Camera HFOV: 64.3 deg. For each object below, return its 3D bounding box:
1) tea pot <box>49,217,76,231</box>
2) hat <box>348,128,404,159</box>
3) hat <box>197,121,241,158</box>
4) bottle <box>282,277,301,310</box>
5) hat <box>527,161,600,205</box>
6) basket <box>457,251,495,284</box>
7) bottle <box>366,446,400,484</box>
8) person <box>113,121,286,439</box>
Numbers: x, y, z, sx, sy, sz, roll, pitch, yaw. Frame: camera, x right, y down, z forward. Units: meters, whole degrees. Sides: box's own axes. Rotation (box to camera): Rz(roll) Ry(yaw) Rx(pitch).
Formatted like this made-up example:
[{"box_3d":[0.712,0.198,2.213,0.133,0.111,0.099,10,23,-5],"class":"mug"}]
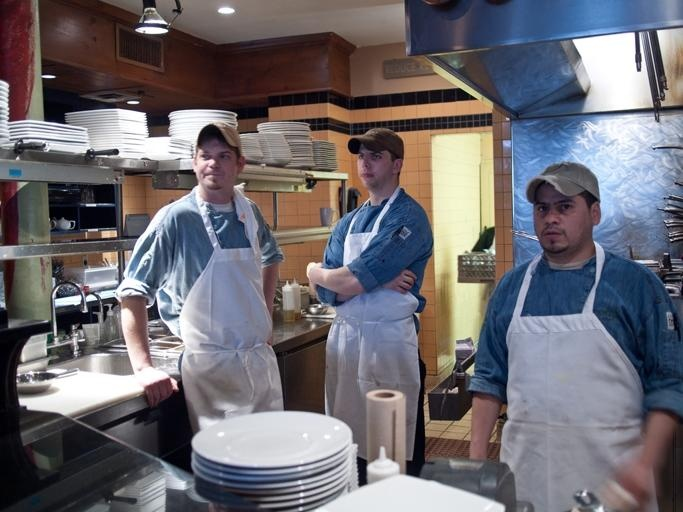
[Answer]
[{"box_3d":[-3.178,-0.366,6.186,0.142,0.120,0.243,-1,-4,37],"class":"tea pot"},{"box_3d":[0.200,-0.648,2.950,0.255,0.127,0.168,13,-4,-38],"class":"hat"},{"box_3d":[-0.590,-0.551,2.490,0.250,0.127,0.180,-4,11,-17],"class":"hat"},{"box_3d":[-0.367,0.281,3.886,0.167,0.293,0.165,1,-2,0],"class":"bottle"},{"box_3d":[0.771,-0.261,1.863,0.278,0.136,0.186,7,1,-32],"class":"hat"},{"box_3d":[1.119,0.084,4.507,0.262,0.166,0.269,0,4,14],"class":"basket"},{"box_3d":[0.069,0.348,0.899,0.050,0.063,0.064,-2,3,-1],"class":"bottle"},{"box_3d":[-0.632,0.090,2.412,0.675,1.355,0.284,-2,3,-6],"class":"person"}]
